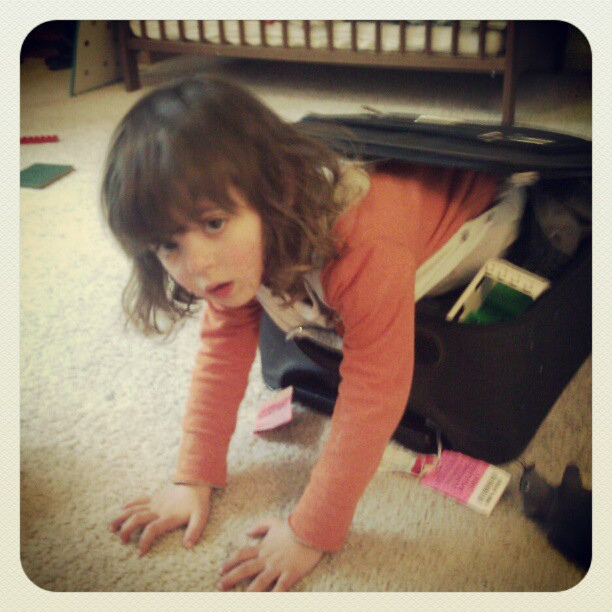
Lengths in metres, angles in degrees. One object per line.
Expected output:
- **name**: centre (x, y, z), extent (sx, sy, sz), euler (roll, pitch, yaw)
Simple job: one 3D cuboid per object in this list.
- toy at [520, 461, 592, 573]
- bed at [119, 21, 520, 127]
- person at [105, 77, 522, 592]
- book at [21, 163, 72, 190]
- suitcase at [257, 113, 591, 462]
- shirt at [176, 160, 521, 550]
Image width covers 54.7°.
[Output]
- **toy**: centre (0.700, 0.581, 1.739), extent (0.185, 0.328, 0.071), euler (-27, 6, -15)
- **bed**: centre (0.029, -0.678, 1.599), extent (1.094, 0.280, 0.106), euler (6, 22, -1)
- **person**: centre (0.148, -0.348, 1.894), extent (0.670, 1.083, 1.841), euler (13, 46, 39)
- **book**: centre (-0.707, -0.352, 1.609), extent (0.145, 0.069, 0.038), euler (12, 24, 12)
- **suitcase**: centre (0.420, -0.244, 1.948), extent (0.836, 0.496, 1.316), euler (15, 47, 28)
- **shirt**: centre (0.150, 0.051, 1.804), extent (0.681, 1.223, 0.412), euler (23, -4, 16)
